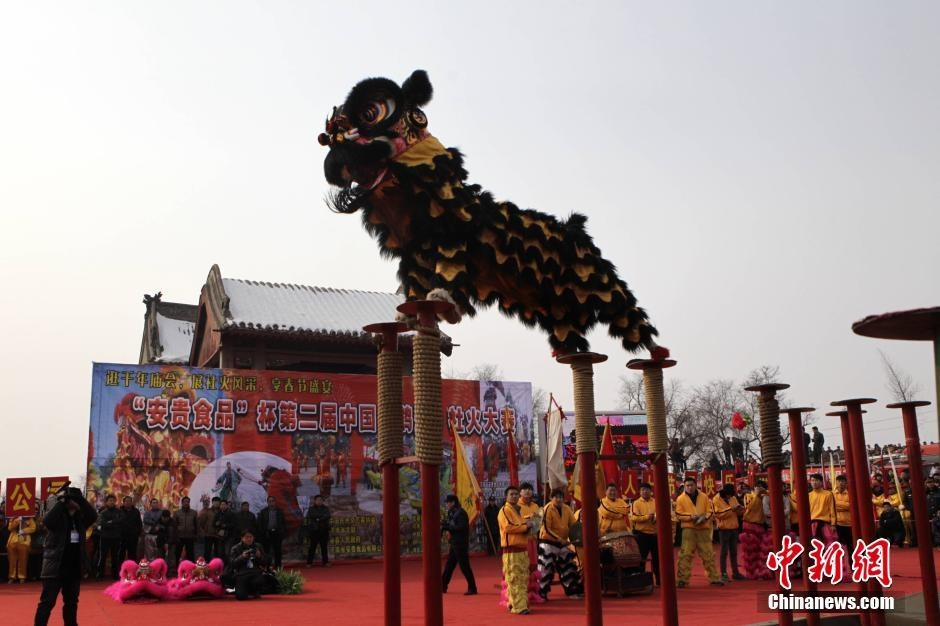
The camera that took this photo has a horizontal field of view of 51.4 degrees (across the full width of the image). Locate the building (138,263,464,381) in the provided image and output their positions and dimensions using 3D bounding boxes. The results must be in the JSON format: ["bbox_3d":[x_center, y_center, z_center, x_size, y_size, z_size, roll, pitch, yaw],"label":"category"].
[{"bbox_3d":[-3.726,0.383,26.209,6.347,2.725,4.668,11,-25,-27],"label":"building"}]
